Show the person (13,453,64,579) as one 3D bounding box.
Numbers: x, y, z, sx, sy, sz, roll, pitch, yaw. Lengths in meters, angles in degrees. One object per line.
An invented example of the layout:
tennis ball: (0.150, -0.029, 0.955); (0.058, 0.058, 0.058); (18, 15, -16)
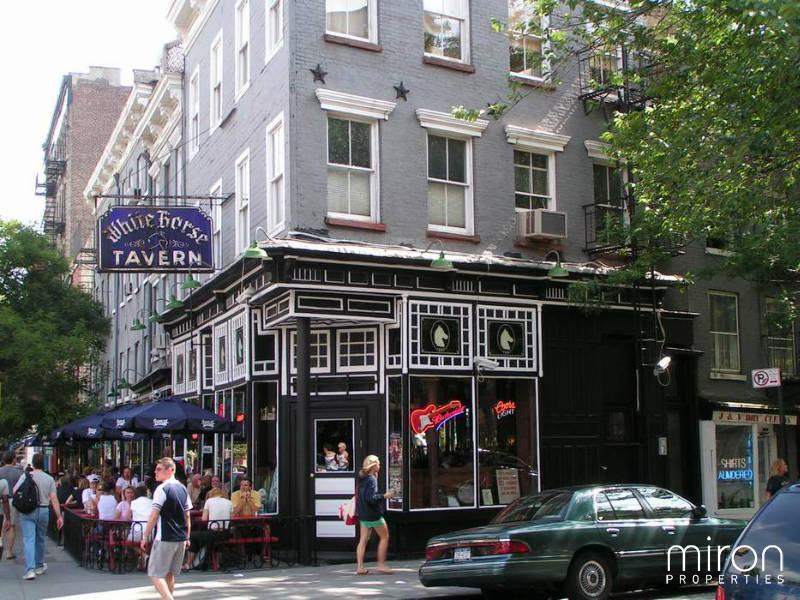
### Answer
person: (-7.647, 4.482, 24.511); (1.105, 2.495, 1.376); (1, -5, 0)

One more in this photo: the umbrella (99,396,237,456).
umbrella: (-5.303, 2.647, 26.855); (2.912, 0.771, 1.117); (0, -11, -11)

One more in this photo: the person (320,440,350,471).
person: (-1.494, 3.626, 27.018); (0.697, 0.701, 0.536); (4, -10, -4)

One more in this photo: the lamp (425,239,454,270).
lamp: (0.933, -0.889, 25.765); (0.442, 0.549, 0.787); (5, -13, -18)

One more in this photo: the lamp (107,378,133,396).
lamp: (-11.439, 3.572, 47.930); (0.810, 0.790, 2.162); (3, -14, -24)

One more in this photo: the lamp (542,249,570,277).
lamp: (3.697, -0.870, 27.856); (0.631, 0.667, 0.669); (2, -13, -7)

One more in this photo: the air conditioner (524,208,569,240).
air conditioner: (3.539, -1.859, 28.592); (1.046, 0.655, 0.581); (4, -12, -29)

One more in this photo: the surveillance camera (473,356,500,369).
surveillance camera: (1.966, 1.461, 27.029); (0.378, 0.099, 0.331); (12, -10, -10)

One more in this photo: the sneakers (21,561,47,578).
sneakers: (-7.466, 5.529, 23.772); (0.222, 0.254, 0.649); (-1, 0, -1)

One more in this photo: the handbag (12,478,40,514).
handbag: (-7.702, 3.983, 24.058); (0.506, 0.818, 0.293); (1, -11, -18)
